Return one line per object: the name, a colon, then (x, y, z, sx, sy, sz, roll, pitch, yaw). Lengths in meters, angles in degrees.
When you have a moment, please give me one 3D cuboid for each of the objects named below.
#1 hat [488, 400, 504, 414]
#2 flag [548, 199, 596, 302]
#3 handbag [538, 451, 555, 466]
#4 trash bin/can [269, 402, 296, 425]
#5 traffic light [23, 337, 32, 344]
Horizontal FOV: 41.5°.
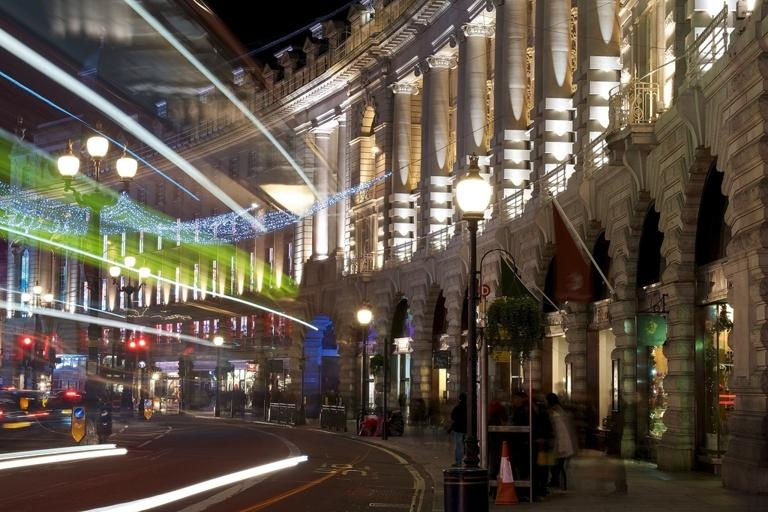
hat: (3.280, 4.511, 30.215, 0.358, 0.356, 0.372, -3, 0, 4)
flag: (5.807, -0.458, 32.041, 1.303, 4.047, 0.346, -13, -25, 29)
handbag: (4.476, 5.650, 28.235, 0.404, 0.447, 0.435, -4, -8, 16)
trash bin/can: (-5.940, 9.262, 59.289, 0.807, 1.053, 2.803, 2, -11, -19)
traffic light: (-22.833, 5.558, 65.310, 0.400, 0.415, 0.469, 20, -2, -35)
